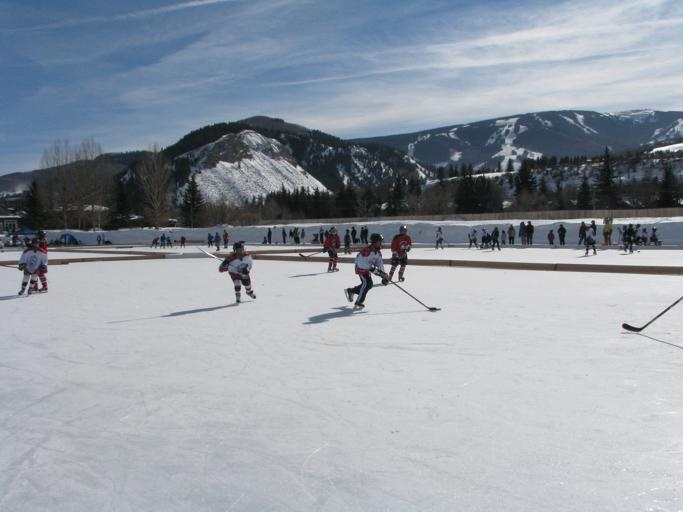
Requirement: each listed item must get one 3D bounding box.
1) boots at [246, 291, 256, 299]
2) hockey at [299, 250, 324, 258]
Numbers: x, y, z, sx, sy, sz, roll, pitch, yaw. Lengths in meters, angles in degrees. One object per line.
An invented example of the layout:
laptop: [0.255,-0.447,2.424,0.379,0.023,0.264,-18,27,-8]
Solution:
boots: [-1.639,0.684,12.575,0.088,0.106,0.258,-35,26,-16]
hockey: [-1.151,-0.028,26.245,1.070,0.269,0.419,-6,4,-28]
